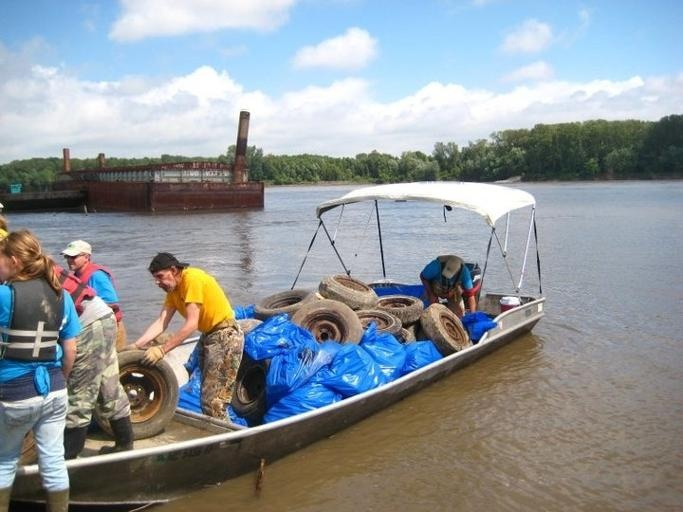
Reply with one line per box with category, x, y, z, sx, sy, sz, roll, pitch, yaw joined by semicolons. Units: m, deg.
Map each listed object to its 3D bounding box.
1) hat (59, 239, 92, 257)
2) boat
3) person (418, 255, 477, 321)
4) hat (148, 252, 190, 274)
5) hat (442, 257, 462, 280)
hat;-3.112;-0.070;7.087;0.274;0.210;0.391;-1;-6;24
boat;-0.089;0.761;9.268;3.735;2.633;9.019;7;11;39
person;2.120;0.636;11.900;1.198;1.168;1.472;2;-34;-1
hat;-1.996;0.119;6.816;0.353;0.176;0.268;-12;8;-1
hat;2.175;0.262;11.670;0.300;0.445;0.238;19;-4;17
